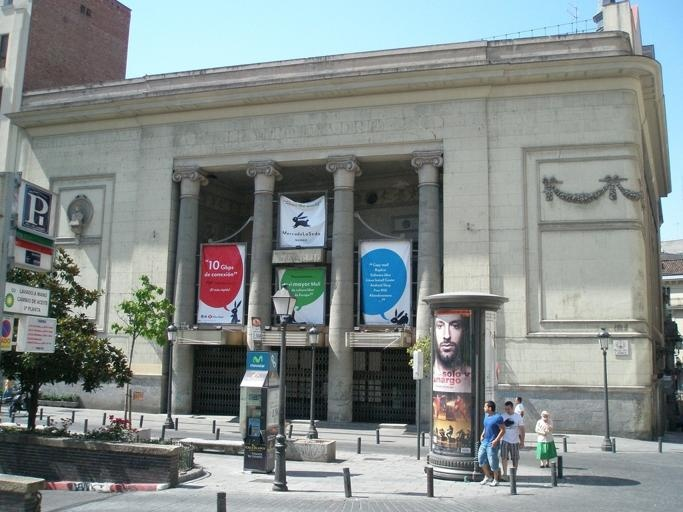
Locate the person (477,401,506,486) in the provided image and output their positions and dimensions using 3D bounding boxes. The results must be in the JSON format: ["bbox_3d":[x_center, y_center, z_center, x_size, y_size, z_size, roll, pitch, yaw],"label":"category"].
[{"bbox_3d":[5.323,6.576,27.770,0.844,2.912,1.071,0,-13,-4],"label":"person"}]
